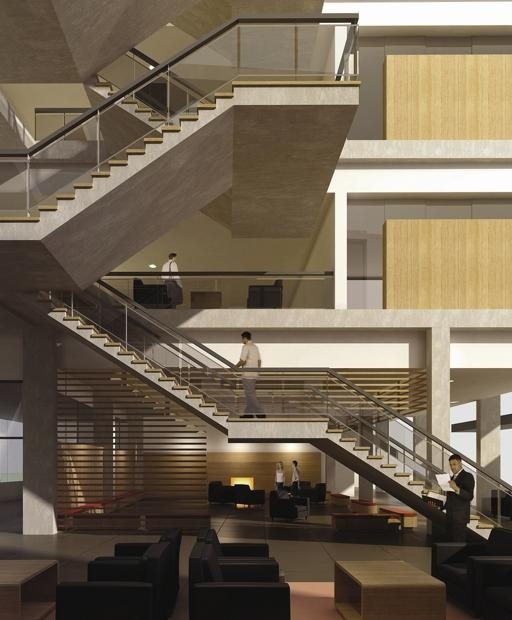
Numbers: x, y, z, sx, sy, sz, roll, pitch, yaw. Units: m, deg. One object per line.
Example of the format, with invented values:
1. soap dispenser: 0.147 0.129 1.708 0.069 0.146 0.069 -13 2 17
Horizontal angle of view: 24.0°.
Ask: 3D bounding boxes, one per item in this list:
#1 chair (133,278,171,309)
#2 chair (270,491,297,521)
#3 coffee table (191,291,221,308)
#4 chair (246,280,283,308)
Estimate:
1. chair: -1.841 -0.268 20.913 0.751 0.842 0.427 0 -6 -5
2. chair: 0.506 3.761 22.994 0.454 0.567 0.489 0 -6 5
3. coffee table: -0.890 -0.180 21.087 0.551 0.311 0.125 0 -9 8
4. chair: 0.137 -0.236 21.161 0.705 0.594 0.417 -1 0 1
